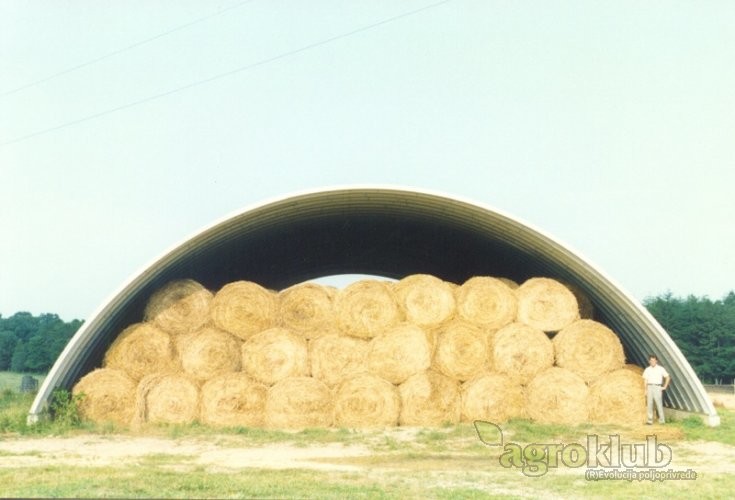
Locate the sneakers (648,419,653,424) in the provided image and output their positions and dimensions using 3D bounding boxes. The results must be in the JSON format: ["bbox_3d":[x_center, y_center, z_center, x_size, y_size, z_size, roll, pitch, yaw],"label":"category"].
[{"bbox_3d":[6.988,4.239,18.627,0.134,0.106,0.102,2,8,11],"label":"sneakers"}]

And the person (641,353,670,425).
[{"bbox_3d":[7.276,3.449,18.976,0.544,1.678,1.168,6,10,38],"label":"person"}]
